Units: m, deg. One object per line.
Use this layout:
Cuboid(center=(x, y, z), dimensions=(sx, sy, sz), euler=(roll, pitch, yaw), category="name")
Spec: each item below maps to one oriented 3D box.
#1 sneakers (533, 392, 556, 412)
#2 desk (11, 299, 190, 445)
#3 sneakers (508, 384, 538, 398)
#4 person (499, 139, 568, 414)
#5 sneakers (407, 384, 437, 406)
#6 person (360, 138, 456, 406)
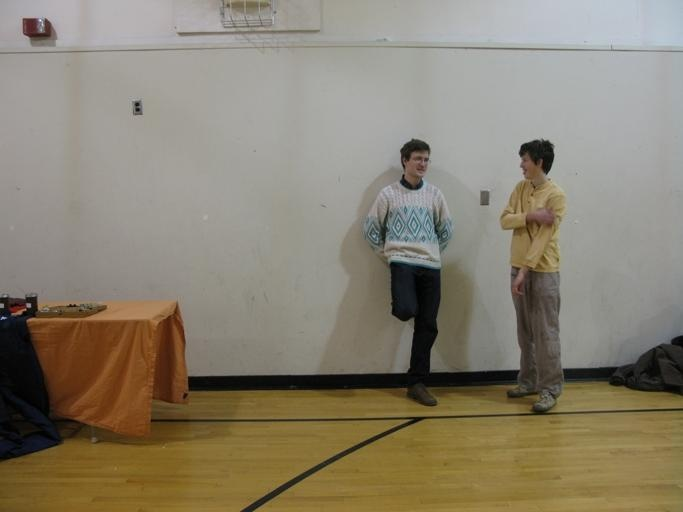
Cuboid(center=(1.549, 1.133, 5.390), dimensions=(0.084, 0.121, 0.259), euler=(-4, -12, 30), category="sneakers")
Cuboid(center=(-1.748, 0.811, 5.475), dimensions=(1.112, 0.876, 1.179), euler=(7, 6, 26), category="desk")
Cuboid(center=(1.446, 1.094, 5.643), dimensions=(0.246, 0.127, 0.102), euler=(0, -1, -8), category="sneakers")
Cuboid(center=(1.491, 0.141, 5.483), dimensions=(0.368, 2.022, 0.606), euler=(-7, 14, -38), category="person")
Cuboid(center=(0.635, 1.105, 5.578), dimensions=(0.094, 0.136, 0.272), euler=(-2, -2, -28), category="sneakers")
Cuboid(center=(0.534, 0.105, 5.655), dimensions=(0.657, 2.013, 0.584), euler=(3, 11, 10), category="person")
